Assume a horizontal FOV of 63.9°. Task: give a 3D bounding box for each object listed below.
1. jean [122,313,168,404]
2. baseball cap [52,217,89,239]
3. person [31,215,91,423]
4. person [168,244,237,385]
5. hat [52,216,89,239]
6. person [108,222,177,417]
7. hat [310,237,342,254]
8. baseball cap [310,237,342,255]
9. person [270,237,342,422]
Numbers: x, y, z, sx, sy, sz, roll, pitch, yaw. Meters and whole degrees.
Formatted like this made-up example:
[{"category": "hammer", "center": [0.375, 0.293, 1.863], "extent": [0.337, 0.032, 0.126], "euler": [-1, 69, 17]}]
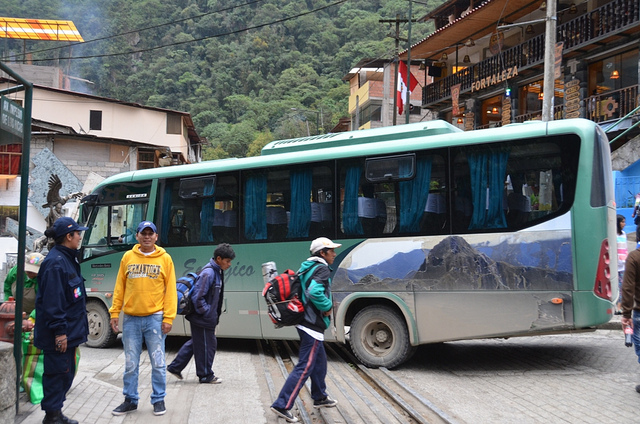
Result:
[{"category": "jean", "center": [-2.569, 2.101, 7.456], "extent": [0.620, 1.282, 0.419], "euler": [-1, 3, -11]}, {"category": "baseball cap", "center": [-3.505, 0.195, 7.158], "extent": [0.386, 0.208, 0.235], "euler": [-17, 9, -27]}, {"category": "person", "center": [-3.523, 1.447, 6.966], "extent": [0.637, 2.720, 0.508], "euler": [-2, 4, -36]}, {"category": "person", "center": [-1.964, 1.725, 8.638], "extent": [1.044, 2.371, 0.527], "euler": [0, 3, -3]}, {"category": "hat", "center": [-3.502, 0.204, 7.165], "extent": [0.387, 0.220, 0.242], "euler": [-16, 7, -27]}, {"category": "person", "center": [-2.516, 1.519, 7.407], "extent": [0.824, 2.729, 0.478], "euler": [-1, 3, -15]}, {"category": "hat", "center": [0.050, 0.465, 7.474], "extent": [0.349, 0.153, 0.228], "euler": [-9, 1, -6]}, {"category": "baseball cap", "center": [0.065, 0.475, 7.475], "extent": [0.348, 0.152, 0.228], "euler": [-10, 1, -6]}, {"category": "person", "center": [-0.141, 1.657, 7.321], "extent": [1.045, 2.536, 0.447], "euler": [-3, 4, -39]}]
